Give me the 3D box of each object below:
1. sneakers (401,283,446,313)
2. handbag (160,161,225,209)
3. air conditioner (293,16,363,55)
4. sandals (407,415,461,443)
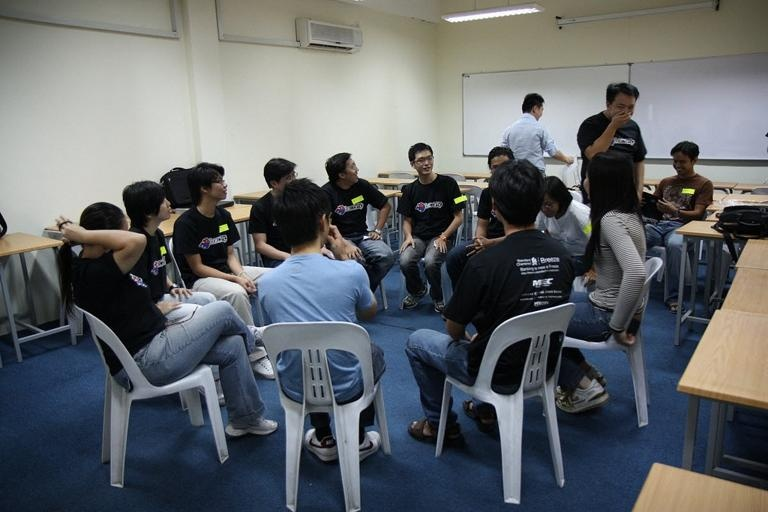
[{"bbox_3d":[0.409,0.419,4.822,0.512,0.235,0.169,7,-7,-33],"label":"sneakers"},{"bbox_3d":[-2.131,-0.715,5.471,0.240,0.481,0.649,-9,5,25],"label":"handbag"},{"bbox_3d":[-0.763,-3.036,7.074,0.331,0.377,1.014,24,27,36],"label":"air conditioner"},{"bbox_3d":[0.318,1.053,3.142,0.277,0.107,0.146,6,11,35],"label":"sandals"}]
